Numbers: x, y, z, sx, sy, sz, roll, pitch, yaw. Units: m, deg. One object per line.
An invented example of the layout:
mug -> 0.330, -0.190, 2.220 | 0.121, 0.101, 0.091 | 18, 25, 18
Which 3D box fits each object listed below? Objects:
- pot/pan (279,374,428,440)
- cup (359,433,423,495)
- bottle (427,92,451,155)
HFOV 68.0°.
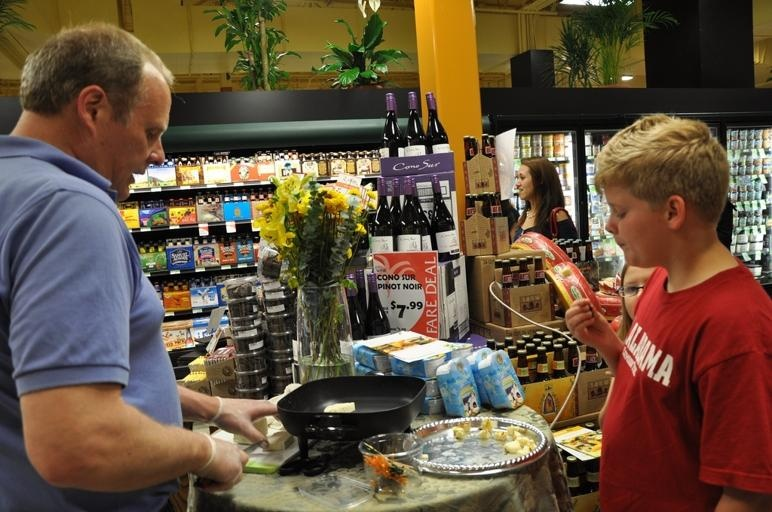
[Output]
pot/pan -> -0.110, 0.515, 1.960 | 0.445, 0.100, 0.563 | -2, 0, 11
cup -> 0.024, 0.666, 1.827 | 0.198, 0.138, 0.189 | -7, -7, -1
bottle -> 0.281, -0.734, 3.195 | 0.111, 0.346, 0.335 | -6, 4, 7
